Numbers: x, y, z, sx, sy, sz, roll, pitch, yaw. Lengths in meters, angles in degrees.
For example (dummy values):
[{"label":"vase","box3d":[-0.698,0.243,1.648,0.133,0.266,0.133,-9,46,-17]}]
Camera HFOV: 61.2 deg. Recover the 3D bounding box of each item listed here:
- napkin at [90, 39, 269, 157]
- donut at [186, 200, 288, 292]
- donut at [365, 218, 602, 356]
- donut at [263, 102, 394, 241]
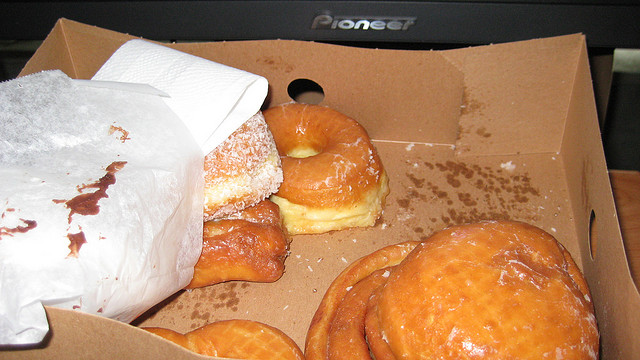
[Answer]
[{"label":"napkin","box3d":[-0.322,-0.216,1.242,0.358,0.113,0.212,26,59,22]},{"label":"donut","box3d":[-0.201,0.148,1.272,0.238,0.135,0.171,-7,53,-1]},{"label":"donut","box3d":[0.307,0.242,1.096,0.445,0.160,0.284,-8,53,-2]},{"label":"donut","box3d":[0.035,-0.038,1.392,0.332,0.151,0.337,-7,53,-1]}]
